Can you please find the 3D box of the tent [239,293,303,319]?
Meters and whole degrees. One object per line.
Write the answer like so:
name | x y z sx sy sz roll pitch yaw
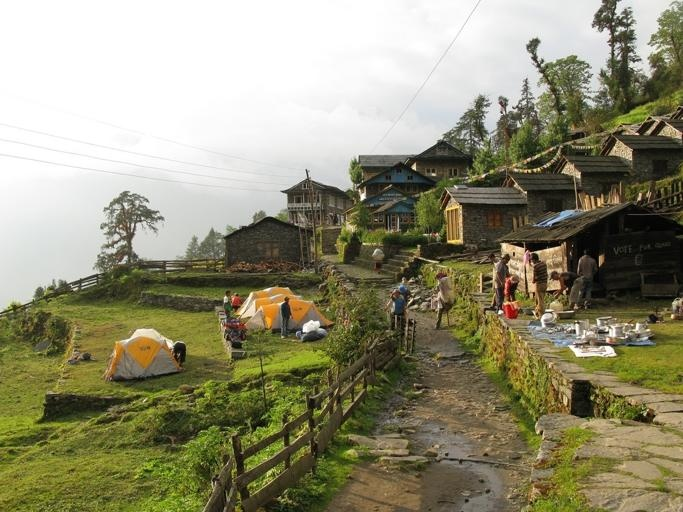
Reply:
tent | -4.314 2.788 32.695 1.874 0.710 2.529 -12 -4 36

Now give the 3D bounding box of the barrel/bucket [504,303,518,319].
barrel/bucket | 5.598 1.783 18.046 0.481 0.416 0.492 1 -4 0

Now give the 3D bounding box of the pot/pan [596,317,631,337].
pot/pan | 7.324 1.904 14.797 0.594 0.272 0.780 0 -4 14

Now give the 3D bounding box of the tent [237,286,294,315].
tent | -4.542 2.533 33.849 2.553 0.867 1.959 -4 -5 -30

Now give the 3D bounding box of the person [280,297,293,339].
person | -2.969 3.186 28.584 0.672 1.902 1.395 -10 7 -4

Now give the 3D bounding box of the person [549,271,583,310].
person | 7.801 1.114 18.752 0.949 1.562 2.582 -7 7 22

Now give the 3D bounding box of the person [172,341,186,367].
person | -7.725 4.602 26.159 0.771 0.919 1.004 0 -6 -10

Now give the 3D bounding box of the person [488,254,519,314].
person | 6.027 1.049 20.181 1.036 2.630 1.117 -5 28 7
